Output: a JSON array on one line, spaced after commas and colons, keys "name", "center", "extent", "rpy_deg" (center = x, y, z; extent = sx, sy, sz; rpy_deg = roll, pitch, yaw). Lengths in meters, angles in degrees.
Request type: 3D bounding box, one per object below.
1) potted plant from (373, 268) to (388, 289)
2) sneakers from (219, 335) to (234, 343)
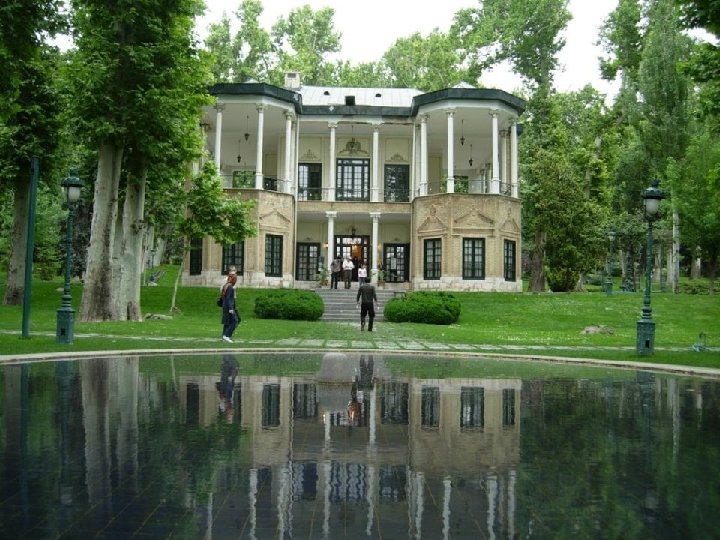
[{"name": "potted plant", "center": [1.461, 0.431, 43.473], "extent": [1.178, 1.303, 0.954], "rpy_deg": [2, -11, -13]}, {"name": "sneakers", "center": [-4.030, 2.076, 21.805], "extent": [0.466, 0.205, 0.179], "rpy_deg": [11, 6, 8]}]
